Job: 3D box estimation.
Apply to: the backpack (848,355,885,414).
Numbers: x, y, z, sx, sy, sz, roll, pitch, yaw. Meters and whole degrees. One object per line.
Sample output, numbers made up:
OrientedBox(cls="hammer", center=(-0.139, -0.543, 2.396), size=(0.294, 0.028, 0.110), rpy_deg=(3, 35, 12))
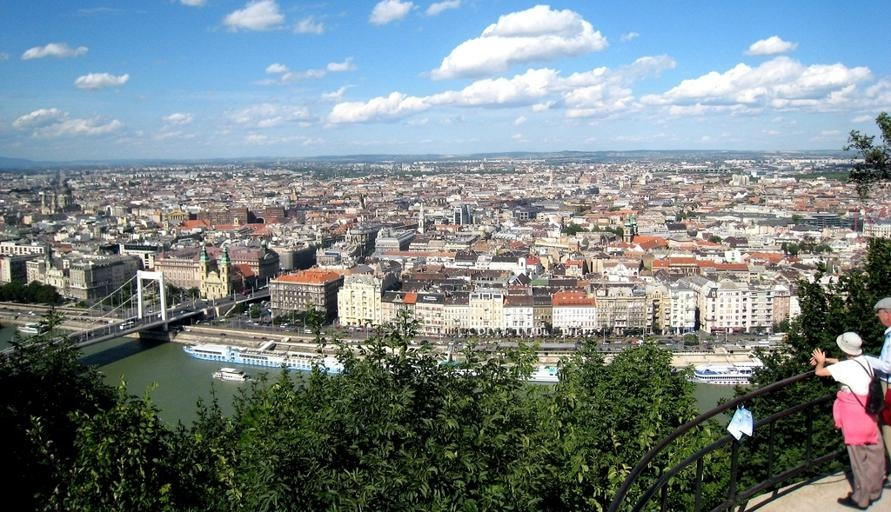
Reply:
OrientedBox(cls="backpack", center=(2.090, 0.610, 3.301), size=(0.171, 0.341, 0.312), rpy_deg=(7, 2, 33))

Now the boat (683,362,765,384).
OrientedBox(cls="boat", center=(4.790, 2.018, 11.319), size=(0.855, 0.220, 0.831), rpy_deg=(-2, 3, 28))

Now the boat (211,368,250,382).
OrientedBox(cls="boat", center=(-3.817, 2.129, 11.841), size=(0.896, 0.136, 0.391), rpy_deg=(-1, 3, 33))
